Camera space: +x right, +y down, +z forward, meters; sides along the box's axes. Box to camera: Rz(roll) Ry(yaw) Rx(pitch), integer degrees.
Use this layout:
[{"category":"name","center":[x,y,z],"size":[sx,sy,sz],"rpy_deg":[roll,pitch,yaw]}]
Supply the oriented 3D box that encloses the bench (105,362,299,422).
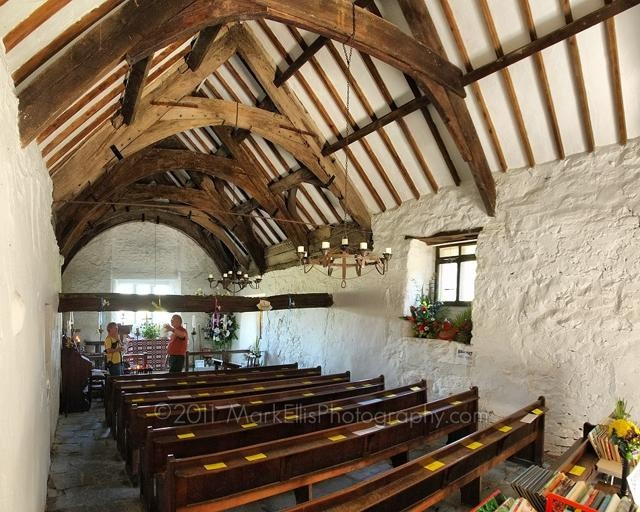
[{"category":"bench","center":[-1.696,2.379,7.953],"size":[3.232,0.698,0.607],"rpy_deg":[4,-6,-31]}]

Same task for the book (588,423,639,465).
[{"category":"book","center":[2.747,1.766,4.303],"size":[0.333,0.134,0.405],"rpy_deg":[11,-2,-9]}]

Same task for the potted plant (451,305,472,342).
[{"category":"potted plant","center":[2.378,1.156,7.581],"size":[0.257,0.577,0.635],"rpy_deg":[0,-6,11]}]

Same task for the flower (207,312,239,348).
[{"category":"flower","center":[-3.224,2.481,15.544],"size":[1.264,1.191,1.128],"rpy_deg":[5,6,-13]}]
